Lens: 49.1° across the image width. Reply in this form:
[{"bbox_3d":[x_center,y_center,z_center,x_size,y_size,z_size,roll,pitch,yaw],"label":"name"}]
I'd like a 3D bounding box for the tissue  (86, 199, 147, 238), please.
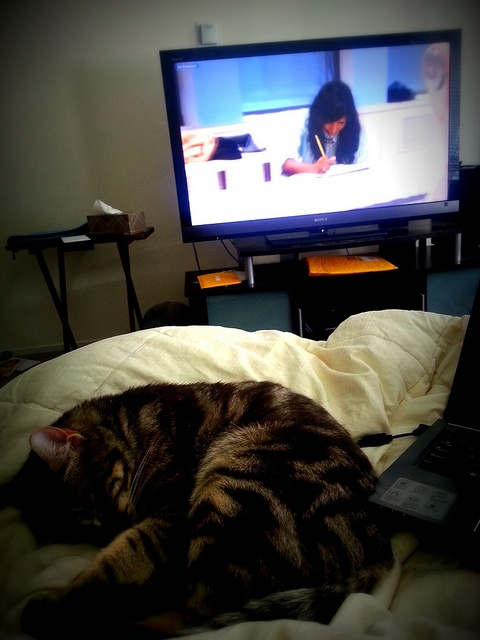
[{"bbox_3d":[-0.454,-0.374,1.929,0.211,0.132,0.172,-10,17,-15],"label":"tissue "}]
